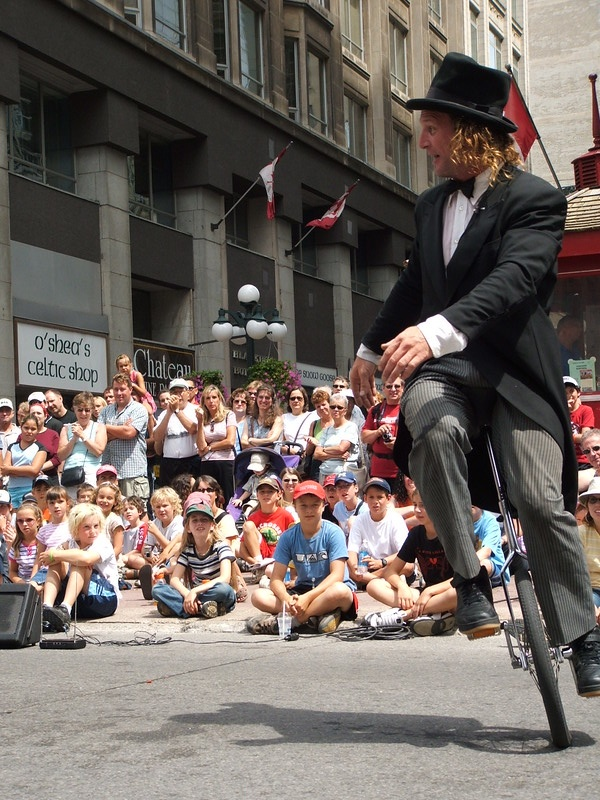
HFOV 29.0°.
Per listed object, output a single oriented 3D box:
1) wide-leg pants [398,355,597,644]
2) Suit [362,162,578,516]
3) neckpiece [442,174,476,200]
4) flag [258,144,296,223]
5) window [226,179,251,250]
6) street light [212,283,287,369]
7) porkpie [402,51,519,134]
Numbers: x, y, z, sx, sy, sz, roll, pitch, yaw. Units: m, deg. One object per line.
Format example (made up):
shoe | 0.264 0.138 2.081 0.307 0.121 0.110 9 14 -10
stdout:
wide-leg pants | 0.620 0.262 3.776 0.616 0.886 0.644 2 3 13
Suit | 0.550 -0.187 3.925 0.774 1.123 0.589 -4 6 -43
neckpiece | 0.522 -0.716 3.867 0.144 0.055 0.070 7 17 38
flag | -0.685 -4.587 24.003 0.824 2.049 0.539 4 7 23
window | -1.552 -4.398 27.536 0.050 1.508 1.499 -12 21 -30
street light | -0.848 -1.244 19.942 1.330 1.201 1.210 -2 -1 -37
porkpie | 0.568 -1.037 3.848 0.395 0.186 0.293 19 30 17
